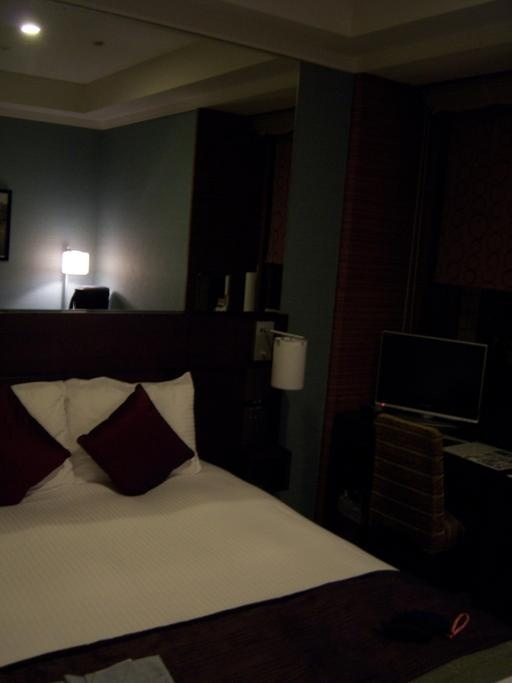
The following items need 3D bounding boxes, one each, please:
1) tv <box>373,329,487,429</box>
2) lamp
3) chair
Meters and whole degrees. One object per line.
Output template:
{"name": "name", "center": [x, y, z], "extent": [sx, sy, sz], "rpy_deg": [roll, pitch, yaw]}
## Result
{"name": "tv", "center": [1.070, 0.218, 3.188], "extent": [0.620, 0.077, 0.546], "rpy_deg": [6, 59, 26]}
{"name": "lamp", "center": [0.139, 0.075, 2.910], "extent": [0.238, 0.515, 0.421], "rpy_deg": [-3, 7, -32]}
{"name": "chair", "center": [0.845, 0.754, 2.670], "extent": [0.399, 0.858, 0.482], "rpy_deg": [-13, 20, -42]}
